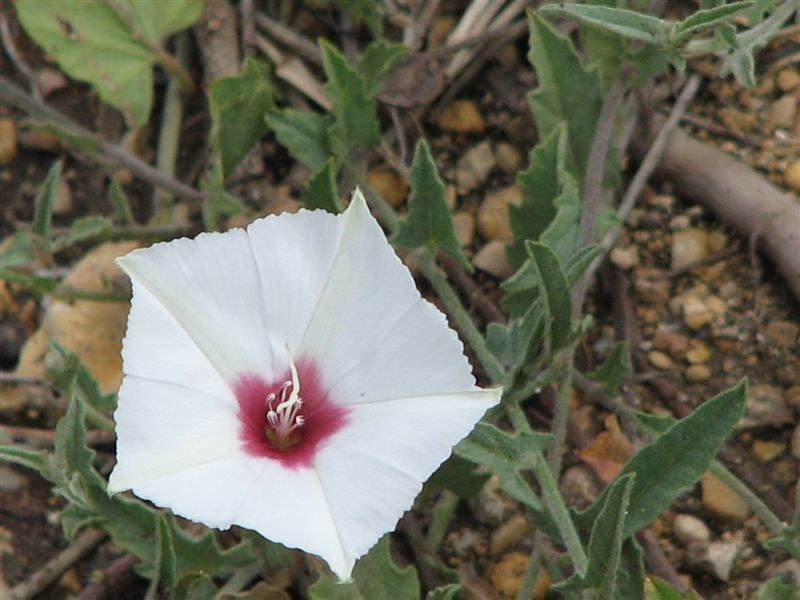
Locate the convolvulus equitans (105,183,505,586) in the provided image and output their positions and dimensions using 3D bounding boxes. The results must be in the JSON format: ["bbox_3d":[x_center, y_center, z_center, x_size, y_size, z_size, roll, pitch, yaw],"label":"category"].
[{"bbox_3d":[-0.317,0.277,2.784,1.042,0.386,1.070,-9,81,-11],"label":"convolvulus equitans"}]
